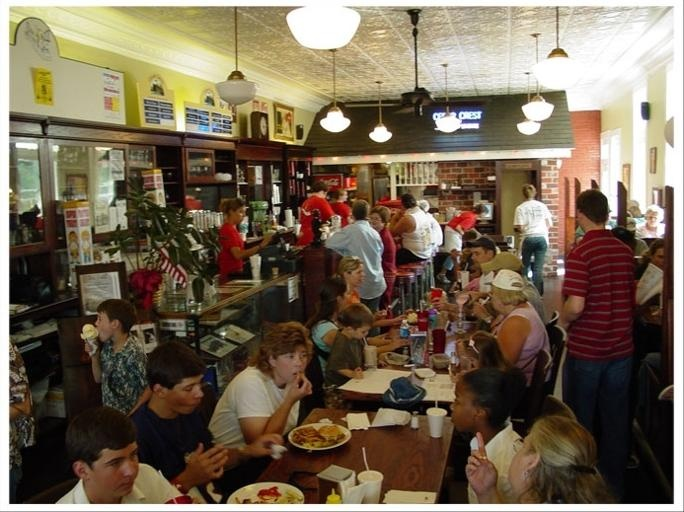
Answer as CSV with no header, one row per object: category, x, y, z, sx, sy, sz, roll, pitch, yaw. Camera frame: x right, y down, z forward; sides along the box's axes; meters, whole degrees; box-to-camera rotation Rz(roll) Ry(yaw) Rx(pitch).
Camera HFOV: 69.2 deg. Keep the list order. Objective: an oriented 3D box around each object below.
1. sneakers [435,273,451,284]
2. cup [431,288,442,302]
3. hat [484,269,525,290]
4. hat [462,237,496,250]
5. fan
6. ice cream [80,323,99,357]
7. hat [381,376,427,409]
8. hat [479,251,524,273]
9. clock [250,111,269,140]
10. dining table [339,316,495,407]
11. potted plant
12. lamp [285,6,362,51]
sneakers,2.163,0.451,10.241,0.384,0.127,0.157,1,7,-33
cup,0.952,0.390,5.025,0.146,0.123,0.127,1,-5,4
hat,1.248,0.170,3.739,0.170,0.092,0.204,4,8,-2
hat,1.614,-0.159,5.839,0.428,0.118,0.237,9,-2,-12
fan,1.218,-2.890,7.581,1.227,1.114,1.201,-2,3,-20
ice cream,-1.832,0.604,3.609,0.128,0.209,0.177,-5,18,-30
hat,0.396,0.893,3.172,0.277,0.087,0.238,3,-16,23
hat,1.530,0.064,4.749,0.343,0.139,0.202,0,-1,26
clock,-1.612,-2.576,9.673,0.168,0.583,0.572,-2,7,21
dining table,0.505,0.728,3.413,1.050,0.466,0.656,-3,6,-1
potted plant,-1.701,-0.092,4.541,0.882,1.107,1.047,5,-6,35
lamp,-0.119,-1.486,3.174,0.450,0.231,0.255,0,8,26
